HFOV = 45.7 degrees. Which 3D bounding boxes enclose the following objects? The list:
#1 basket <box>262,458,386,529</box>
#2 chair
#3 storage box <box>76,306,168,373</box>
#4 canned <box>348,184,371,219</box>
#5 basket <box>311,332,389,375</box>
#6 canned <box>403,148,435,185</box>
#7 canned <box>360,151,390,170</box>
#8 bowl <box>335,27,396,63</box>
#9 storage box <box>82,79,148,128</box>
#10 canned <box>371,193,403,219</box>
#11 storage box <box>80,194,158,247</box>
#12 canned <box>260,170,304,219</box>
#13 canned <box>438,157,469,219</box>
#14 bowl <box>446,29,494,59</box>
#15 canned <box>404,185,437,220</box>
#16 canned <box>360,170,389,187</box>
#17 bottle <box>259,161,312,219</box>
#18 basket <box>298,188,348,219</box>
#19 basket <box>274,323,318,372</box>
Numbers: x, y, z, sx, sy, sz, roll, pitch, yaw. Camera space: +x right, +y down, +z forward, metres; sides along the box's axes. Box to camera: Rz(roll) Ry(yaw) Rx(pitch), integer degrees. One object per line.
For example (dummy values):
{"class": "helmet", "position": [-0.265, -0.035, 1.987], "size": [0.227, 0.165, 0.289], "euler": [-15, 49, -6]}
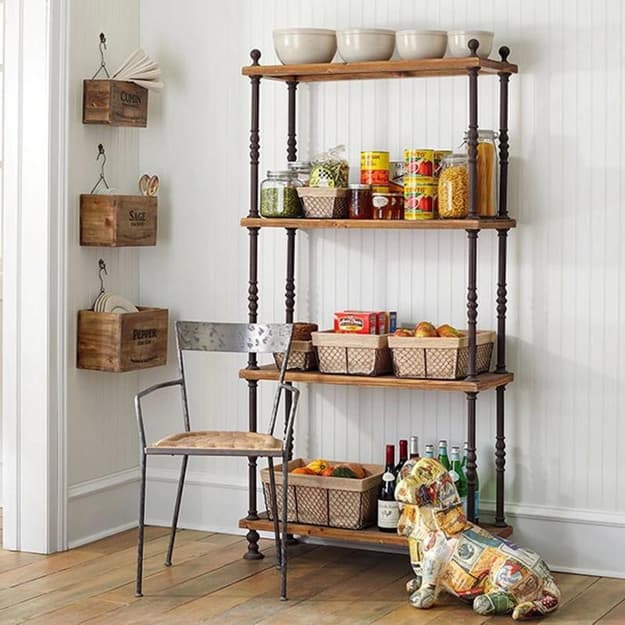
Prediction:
{"class": "basket", "position": [0.029, 0.593, 2.462], "size": [0.326, 0.129, 0.200], "euler": [1, -1, 23]}
{"class": "chair", "position": [-0.265, 0.440, 2.357], "size": [0.541, 0.761, 0.479], "euler": [4, 5, 12]}
{"class": "storage box", "position": [-0.725, 0.100, 2.837], "size": [0.204, 0.195, 0.334], "euler": [3, 2, 24]}
{"class": "canned", "position": [0.161, -0.364, 2.442], "size": [0.072, 0.111, 0.036], "euler": [-1, 6, 4]}
{"class": "basket", "position": [0.121, 0.134, 2.391], "size": [0.184, 0.096, 0.174], "euler": [1, 3, 21]}
{"class": "canned", "position": [0.341, -0.469, 2.402], "size": [0.108, 0.100, 0.102], "euler": [2, 3, 20]}
{"class": "canned", "position": [0.220, -0.515, 2.519], "size": [0.078, 0.042, 0.073], "euler": [-4, 9, -28]}
{"class": "bowl", "position": [0.173, -0.867, 2.402], "size": [0.237, 0.097, 0.218], "euler": [0, 3, 0]}
{"class": "storage box", "position": [-0.743, -0.800, 2.824], "size": [0.114, 0.153, 0.331], "euler": [6, 14, 8]}
{"class": "canned", "position": [0.255, -0.348, 2.426], "size": [0.113, 0.088, 0.093], "euler": [-2, 6, -8]}
{"class": "storage box", "position": [-0.733, -0.353, 2.830], "size": [0.171, 0.166, 0.296], "euler": [6, 13, 21]}
{"class": "canned", "position": [-0.076, -0.411, 2.560], "size": [0.182, 0.166, 0.189], "euler": [-6, 11, -26]}
{"class": "canned", "position": [0.427, -0.390, 2.302], "size": [0.128, 0.196, 0.091], "euler": [2, 7, 33]}
{"class": "bowl", "position": [0.488, -0.836, 2.291], "size": [0.143, 0.074, 0.134], "euler": [-1, 5, 0]}
{"class": "canned", "position": [0.339, -0.347, 2.336], "size": [0.098, 0.116, 0.099], "euler": [-1, 6, 7]}
{"class": "canned", "position": [0.212, -0.455, 2.511], "size": [0.077, 0.042, 0.079], "euler": [6, 8, 44]}
{"class": "bottle", "position": [-0.092, -0.421, 2.594], "size": [0.197, 0.178, 0.209], "euler": [1, -2, -2]}
{"class": "basket", "position": [0.040, -0.364, 2.495], "size": [0.119, 0.076, 0.140], "euler": [1, 0, 15]}
{"class": "basket", "position": [-0.037, 0.123, 2.529], "size": [0.181, 0.148, 0.159], "euler": [0, -1, 7]}
